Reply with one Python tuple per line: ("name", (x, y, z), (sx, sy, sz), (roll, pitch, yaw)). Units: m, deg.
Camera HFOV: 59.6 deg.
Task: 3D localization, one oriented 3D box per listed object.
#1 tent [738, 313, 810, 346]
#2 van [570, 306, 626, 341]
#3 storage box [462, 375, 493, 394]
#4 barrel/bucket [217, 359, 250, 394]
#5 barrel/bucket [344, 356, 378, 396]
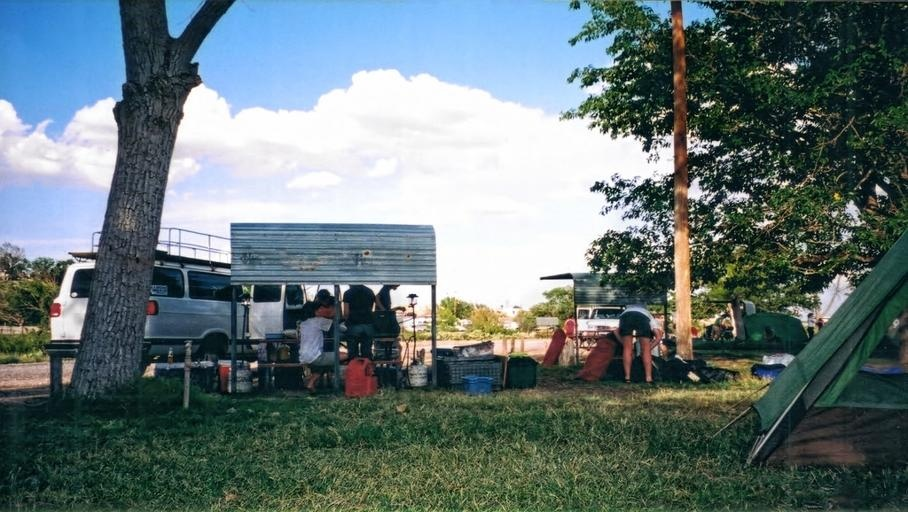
("tent", (13.989, 3.278, 34.617), (2.871, 1.005, 2.845), (1, -2, 2))
("van", (5.450, 2.571, 30.436), (1.610, 1.279, 2.513), (0, -7, 10))
("storage box", (0.676, 3.717, 22.884), (0.858, 0.510, 1.227), (1, -7, 2))
("barrel/bucket", (-6.470, 3.562, 23.404), (0.787, 0.893, 1.001), (6, -8, -38))
("barrel/bucket", (-2.725, 3.587, 23.217), (0.905, 0.992, 1.158), (0, -4, -2))
